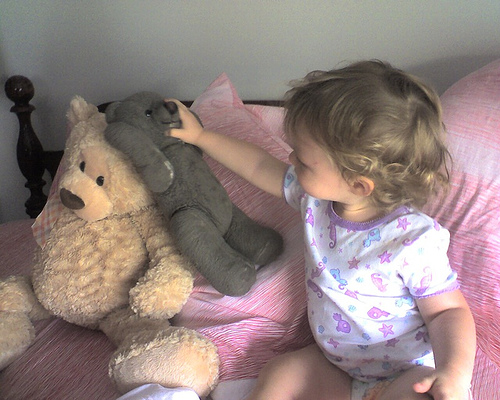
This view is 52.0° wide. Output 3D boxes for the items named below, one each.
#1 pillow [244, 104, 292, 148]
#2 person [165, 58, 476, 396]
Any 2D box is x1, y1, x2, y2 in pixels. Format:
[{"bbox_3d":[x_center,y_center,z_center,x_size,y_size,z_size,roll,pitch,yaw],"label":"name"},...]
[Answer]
[{"bbox_3d":[0.046,-0.200,1.397,0.145,0.042,0.143,25,31,-11],"label":"pillow"},{"bbox_3d":[0.158,0.094,1.145,0.729,0.684,0.470,9,23,33],"label":"person"}]
